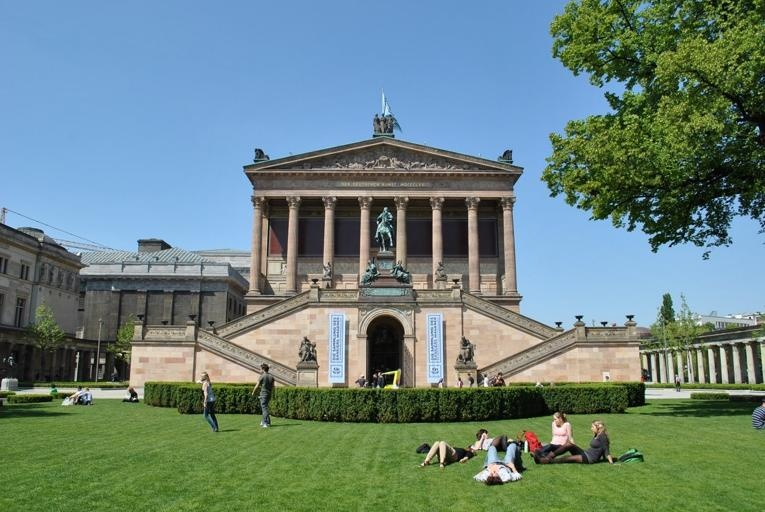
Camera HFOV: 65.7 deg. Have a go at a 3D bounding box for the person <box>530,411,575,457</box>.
[{"bbox_3d":[5.595,6.115,19.967,1.938,1.272,0.906,-9,-2,-34],"label":"person"}]

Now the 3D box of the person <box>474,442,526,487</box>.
[{"bbox_3d":[3.602,6.524,18.240,1.345,0.663,1.987,-10,8,26],"label":"person"}]

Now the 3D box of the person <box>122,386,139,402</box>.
[{"bbox_3d":[-16.614,9.218,39.188,0.845,0.956,2.391,4,-13,-25],"label":"person"}]

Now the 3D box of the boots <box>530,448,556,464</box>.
[{"bbox_3d":[5.373,6.646,19.657,0.423,0.304,0.637,8,-11,-43],"label":"boots"}]

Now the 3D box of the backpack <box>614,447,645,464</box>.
[{"bbox_3d":[8.120,6.591,19.415,0.712,0.237,0.556,0,-7,7],"label":"backpack"}]

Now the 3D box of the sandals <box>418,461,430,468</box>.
[{"bbox_3d":[1.302,6.736,19.117,0.257,0.168,0.527,-5,-12,20],"label":"sandals"}]

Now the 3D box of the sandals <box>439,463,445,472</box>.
[{"bbox_3d":[1.910,6.759,18.964,0.169,0.145,0.262,-2,-11,5],"label":"sandals"}]

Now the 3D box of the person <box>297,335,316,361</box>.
[{"bbox_3d":[-4.841,6.078,38.288,0.910,1.663,0.964,-1,-12,1],"label":"person"}]

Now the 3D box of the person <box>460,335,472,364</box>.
[{"bbox_3d":[5.917,6.709,42.168,0.655,1.791,1.049,-12,-16,42],"label":"person"}]

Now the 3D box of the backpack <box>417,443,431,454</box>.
[{"bbox_3d":[1.424,6.701,20.593,0.333,0.164,0.412,1,-6,1],"label":"backpack"}]

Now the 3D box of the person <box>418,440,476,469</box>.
[{"bbox_3d":[2.145,6.583,19.586,1.496,0.464,0.868,10,-26,-30],"label":"person"}]

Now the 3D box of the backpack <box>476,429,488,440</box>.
[{"bbox_3d":[3.591,6.427,21.361,0.469,0.231,0.587,1,-7,-4],"label":"backpack"}]
